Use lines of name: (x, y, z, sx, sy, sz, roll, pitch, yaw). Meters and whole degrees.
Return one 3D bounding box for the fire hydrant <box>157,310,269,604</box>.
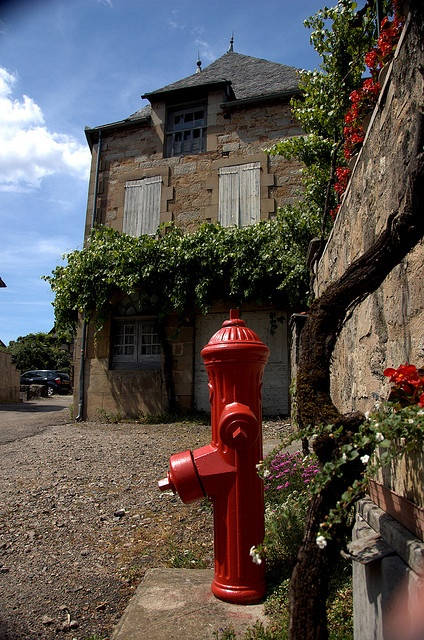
fire hydrant: (0.050, 0.654, 2.559, 0.576, 1.284, 0.330, -10, 0, 4)
